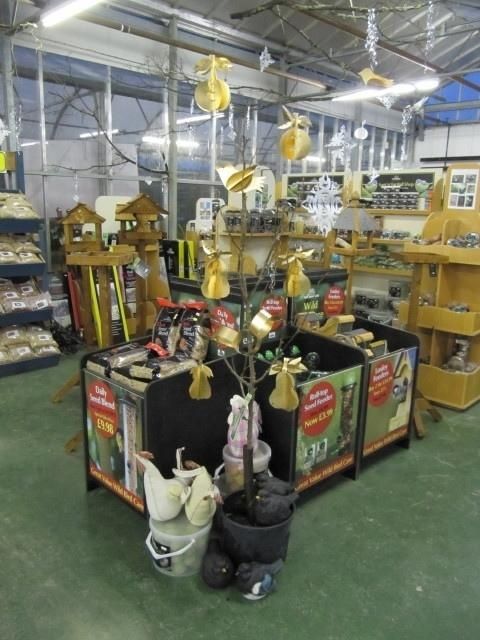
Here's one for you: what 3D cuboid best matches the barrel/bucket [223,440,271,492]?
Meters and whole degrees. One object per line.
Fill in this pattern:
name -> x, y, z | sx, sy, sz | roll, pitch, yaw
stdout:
barrel/bucket -> 0.007, 0.772, 2.383 | 0.163, 0.158, 0.158 | -1, -9, 0

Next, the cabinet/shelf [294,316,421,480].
cabinet/shelf -> 0.762, 0.633, 3.308 | 0.519, 0.835, 0.656 | -5, -15, -28

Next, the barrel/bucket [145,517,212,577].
barrel/bucket -> -0.252, 0.997, 2.053 | 0.263, 0.183, 0.244 | 4, 11, -1
